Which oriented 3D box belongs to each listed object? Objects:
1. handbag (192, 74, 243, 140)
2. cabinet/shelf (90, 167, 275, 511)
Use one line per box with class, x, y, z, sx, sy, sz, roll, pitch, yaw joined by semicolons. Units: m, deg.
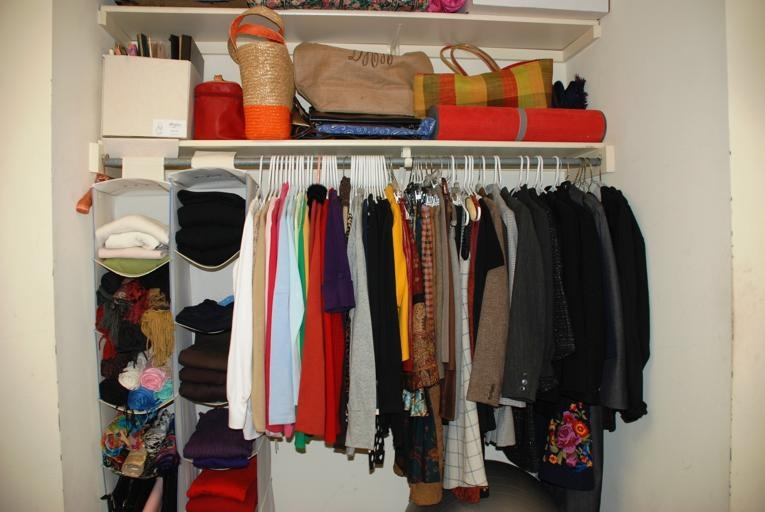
handbag;-0.817;-0.736;3.722;0.242;0.260;0.254;-6;11;-4
cabinet/shelf;-1.008;0.405;3.632;0.714;1.512;0.451;-2;1;-7
